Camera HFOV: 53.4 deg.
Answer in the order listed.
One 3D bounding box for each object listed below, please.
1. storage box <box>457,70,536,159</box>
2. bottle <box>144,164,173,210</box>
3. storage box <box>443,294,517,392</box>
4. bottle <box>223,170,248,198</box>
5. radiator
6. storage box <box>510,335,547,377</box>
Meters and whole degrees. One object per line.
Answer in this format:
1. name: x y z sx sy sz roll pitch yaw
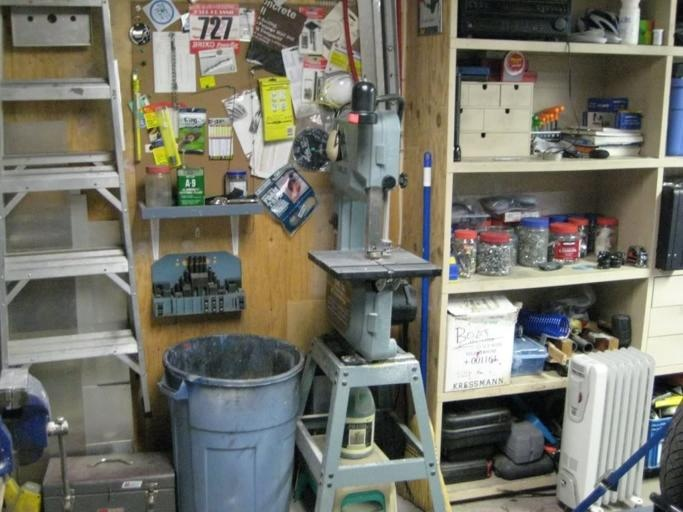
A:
1. storage box: 0.767 -0.723 3.442 0.407 0.372 0.198 -2 10 -10
2. bottle: -0.884 -0.340 3.246 0.139 0.218 0.142 5 11 -1
3. storage box: 0.693 0.452 3.450 0.426 0.511 0.297 -2 7 -14
4. bottle: -0.512 -0.362 3.352 0.116 0.146 0.123 2 13 0
5. radiator: 1.340 0.870 3.450 0.502 0.773 0.238 -8 12 -26
6. storage box: 0.994 0.541 3.718 0.192 0.159 0.298 1 12 3
